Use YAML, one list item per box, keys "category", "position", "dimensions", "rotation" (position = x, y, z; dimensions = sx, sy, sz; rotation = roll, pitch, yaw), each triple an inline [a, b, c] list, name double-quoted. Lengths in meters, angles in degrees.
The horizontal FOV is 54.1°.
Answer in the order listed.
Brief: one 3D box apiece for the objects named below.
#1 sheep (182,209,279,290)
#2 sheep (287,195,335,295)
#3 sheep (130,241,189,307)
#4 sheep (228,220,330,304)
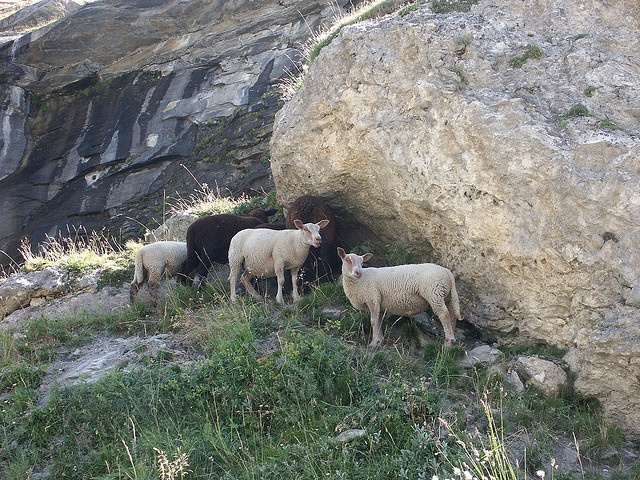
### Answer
- category: "sheep"
  position: [-1.940, 0.200, 13.467]
  dimensions: [2.654, 1.565, 0.820]
  rotation: [-8, 5, -44]
- category: "sheep"
  position: [-0.083, -0.034, 12.434]
  dimensions: [0.816, 1.402, 1.961]
  rotation: [-2, 43, 0]
- category: "sheep"
  position: [-3.205, 0.682, 13.766]
  dimensions: [0.577, 1.337, 2.218]
  rotation: [-2, 1, 29]
- category: "sheep"
  position: [-0.819, 0.443, 11.991]
  dimensions: [2.215, 1.602, 0.829]
  rotation: [1, 1, 32]
